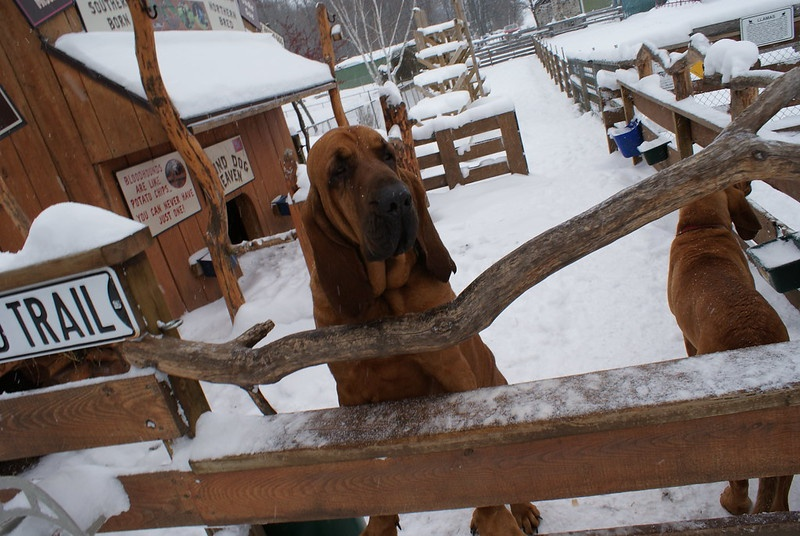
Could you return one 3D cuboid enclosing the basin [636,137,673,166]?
[{"bbox_3d":[3.359,-1.547,8.744,0.400,0.323,0.305,-21,29,8],"label":"basin"}]

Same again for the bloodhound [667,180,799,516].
[{"bbox_3d":[2.387,0.203,4.897,0.708,1.142,1.508,-6,25,22],"label":"bloodhound"}]

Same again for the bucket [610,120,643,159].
[{"bbox_3d":[3.472,-1.919,10.043,0.437,0.594,0.591,-1,26,30],"label":"bucket"}]

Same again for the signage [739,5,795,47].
[{"bbox_3d":[6.001,-3.906,10.771,0.751,0.631,0.648,-2,26,31],"label":"signage"}]
